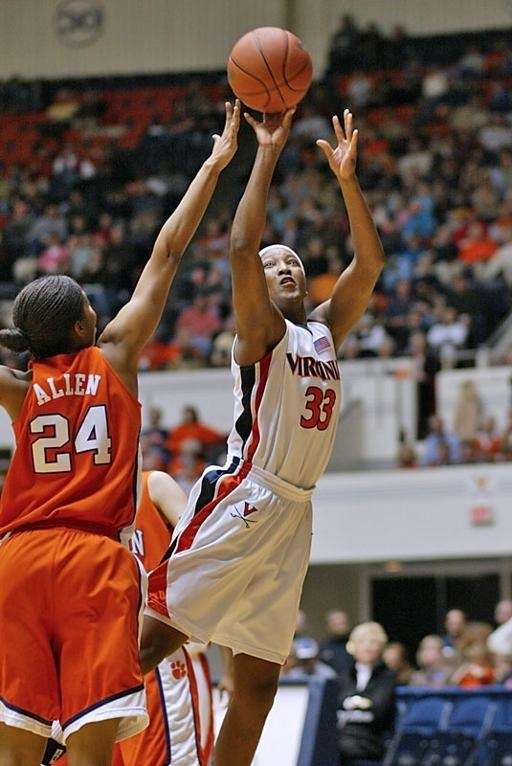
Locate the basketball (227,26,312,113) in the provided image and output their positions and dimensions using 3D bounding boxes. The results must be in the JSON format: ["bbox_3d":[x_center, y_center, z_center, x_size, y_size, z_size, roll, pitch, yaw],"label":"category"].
[{"bbox_3d":[0.052,-1.277,4.891,0.340,0.374,0.323,1,7,-2],"label":"basketball"}]
